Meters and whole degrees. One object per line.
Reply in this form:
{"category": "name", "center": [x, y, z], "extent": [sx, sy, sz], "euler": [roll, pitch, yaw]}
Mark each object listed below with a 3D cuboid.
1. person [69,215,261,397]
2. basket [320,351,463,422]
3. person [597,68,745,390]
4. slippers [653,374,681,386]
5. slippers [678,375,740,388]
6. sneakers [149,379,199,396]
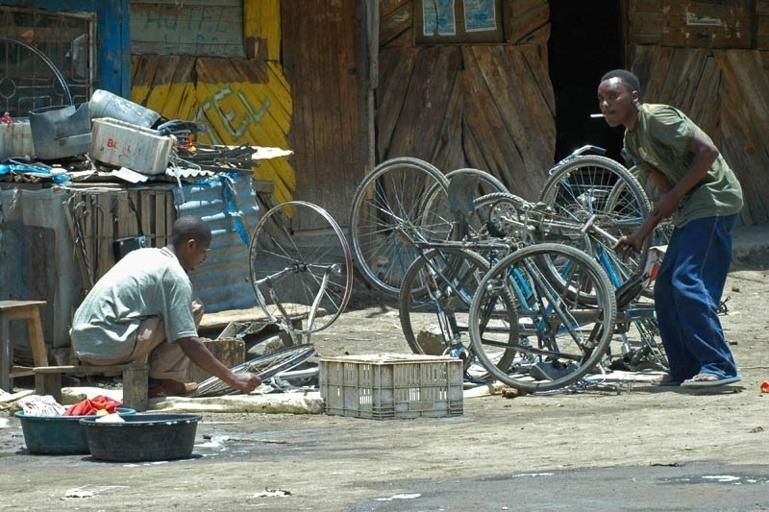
{"category": "person", "center": [-1.843, 0.421, 15.091], "extent": [1.435, 1.511, 0.547], "euler": [-2, 2, 16]}
{"category": "basket", "center": [0.050, 1.071, 14.898], "extent": [1.161, 0.498, 0.385], "euler": [-2, 2, -1]}
{"category": "person", "center": [2.435, -0.255, 15.179], "extent": [1.052, 2.681, 0.470], "euler": [-2, 2, 10]}
{"category": "slippers", "center": [2.371, 1.046, 15.427], "extent": [0.248, 0.093, 0.084], "euler": [5, 3, 36]}
{"category": "slippers", "center": [2.669, 1.038, 15.013], "extent": [0.399, 0.094, 0.163], "euler": [2, -8, -16]}
{"category": "sneakers", "center": [-1.814, 1.088, 15.345], "extent": [0.479, 0.185, 0.140], "euler": [-3, 1, -13]}
